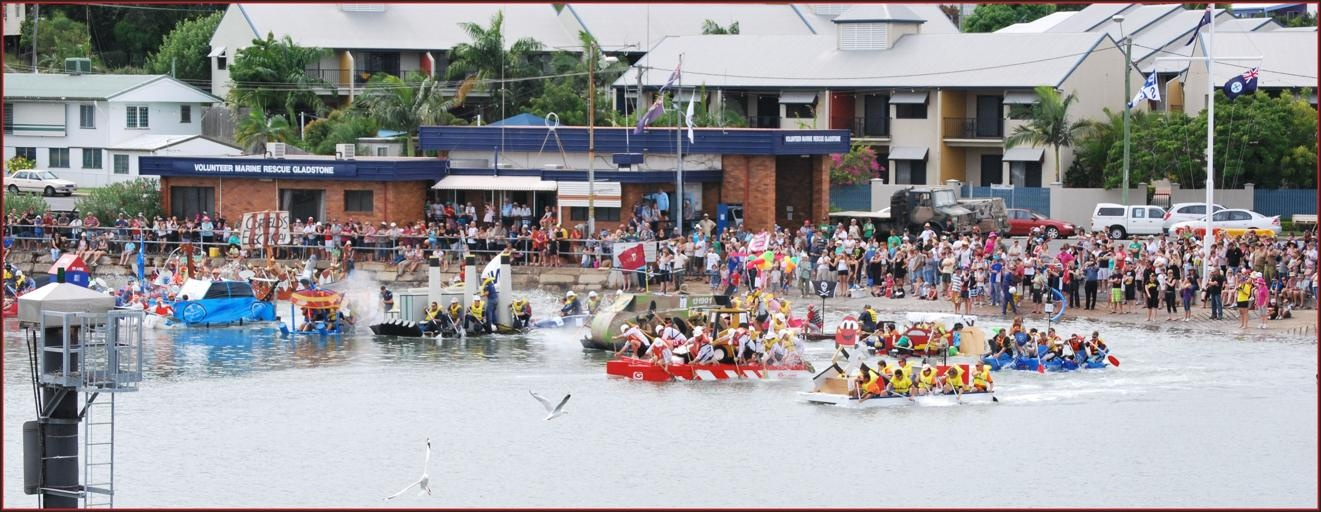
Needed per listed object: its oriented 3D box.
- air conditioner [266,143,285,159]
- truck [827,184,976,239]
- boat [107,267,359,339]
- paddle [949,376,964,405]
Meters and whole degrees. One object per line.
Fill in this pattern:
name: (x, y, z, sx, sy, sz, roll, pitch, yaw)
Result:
air conditioner: (-34.622, -9.546, 212.162, 1.622, 1.224, 1.161, -1, 1, -8)
truck: (23.938, -3.988, 209.628, 11.682, 3.406, 4.326, -2, 3, 17)
boat: (-35.107, 5.530, 196.928, 13.066, 2.669, 7.269, -1, 3, -11)
paddle: (23.622, 10.971, 185.782, 0.875, 2.096, 0.716, 3, 1, 0)
